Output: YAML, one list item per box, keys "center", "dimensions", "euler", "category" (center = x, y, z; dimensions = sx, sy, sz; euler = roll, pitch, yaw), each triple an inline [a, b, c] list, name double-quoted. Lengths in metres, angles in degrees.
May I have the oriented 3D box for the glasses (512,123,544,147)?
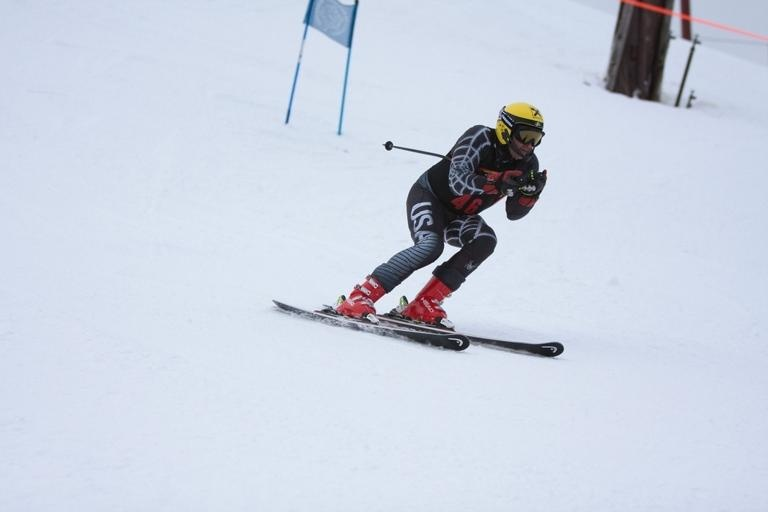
- center: [1.549, -1.288, 8.659]
  dimensions: [0.228, 0.139, 0.272]
  euler: [14, 13, -41]
  category: "glasses"

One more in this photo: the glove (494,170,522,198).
- center: [1.359, -0.807, 8.787]
  dimensions: [0.275, 0.270, 0.345]
  euler: [3, -18, 6]
  category: "glove"

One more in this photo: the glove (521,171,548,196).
- center: [1.606, -0.821, 8.676]
  dimensions: [0.269, 0.305, 0.459]
  euler: [2, -19, 9]
  category: "glove"

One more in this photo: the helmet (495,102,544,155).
- center: [1.396, -1.384, 8.730]
  dimensions: [0.561, 0.612, 0.480]
  euler: [17, 19, 38]
  category: "helmet"
